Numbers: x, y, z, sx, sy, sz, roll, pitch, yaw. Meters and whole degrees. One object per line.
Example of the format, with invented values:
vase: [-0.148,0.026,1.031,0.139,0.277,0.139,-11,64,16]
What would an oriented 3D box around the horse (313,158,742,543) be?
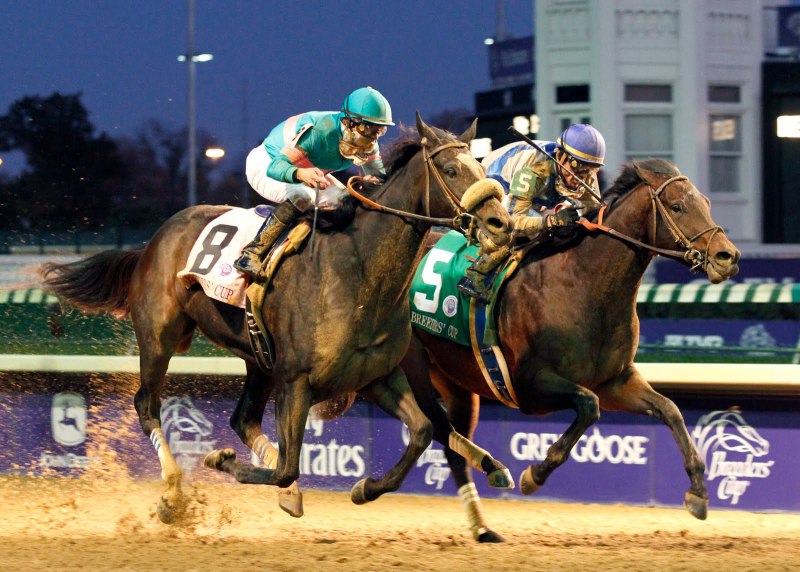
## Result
horse: [0.771,0.585,8.443,0.969,2.386,3.588,10,-10,-37]

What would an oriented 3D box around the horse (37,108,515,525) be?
horse: [-0.673,0.247,7.788,2.929,2.600,0.856,6,8,39]

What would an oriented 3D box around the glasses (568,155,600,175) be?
glasses: [1.186,-0.773,8.136,0.122,0.062,0.142,2,20,-26]

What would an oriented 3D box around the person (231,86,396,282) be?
person: [-0.566,-0.621,7.778,0.914,1.187,0.877,14,6,31]

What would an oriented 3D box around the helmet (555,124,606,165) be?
helmet: [1.179,-0.907,8.153,0.224,0.160,0.304,12,29,-26]
